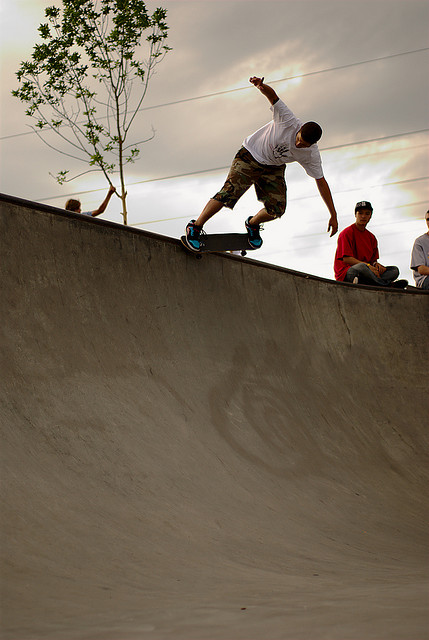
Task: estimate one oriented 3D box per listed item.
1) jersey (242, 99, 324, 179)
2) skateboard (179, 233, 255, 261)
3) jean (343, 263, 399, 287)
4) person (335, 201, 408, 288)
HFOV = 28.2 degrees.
[{"bbox_3d":[0.563,-1.448,7.018,0.176,0.638,0.662,-38,32,-18],"label":"jersey"},{"bbox_3d":[0.196,-0.611,7.121,0.968,0.215,0.157,-5,-4,-29],"label":"skateboard"},{"bbox_3d":[1.676,-0.457,8.831,0.667,0.233,0.281,-2,1,-25],"label":"jean"},{"bbox_3d":[1.602,-0.786,8.894,0.641,0.893,0.490,-2,1,-20],"label":"person"}]
